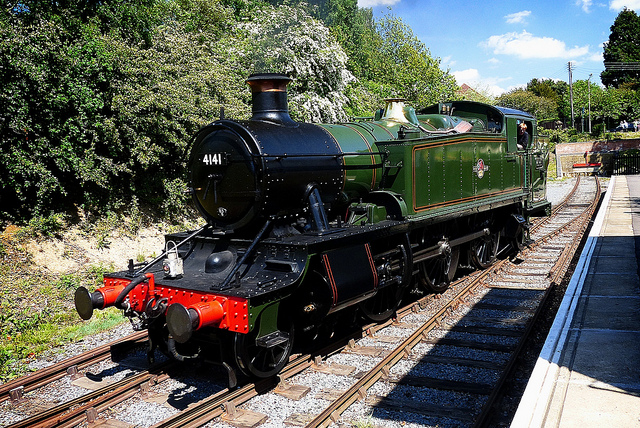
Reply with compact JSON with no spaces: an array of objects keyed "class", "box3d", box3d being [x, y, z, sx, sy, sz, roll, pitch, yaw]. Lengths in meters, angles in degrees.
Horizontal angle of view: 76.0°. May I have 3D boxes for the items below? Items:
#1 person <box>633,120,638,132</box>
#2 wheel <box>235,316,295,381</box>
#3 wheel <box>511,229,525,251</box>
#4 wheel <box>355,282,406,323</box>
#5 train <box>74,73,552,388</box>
[{"class":"person","box3d":[50.023,-13.933,65.071,0.545,1.573,3.747,3,11,35]},{"class":"wheel","box3d":[-0.868,2.048,6.148,0.161,0.876,0.947,2,20,35]},{"class":"wheel","box3d":[6.086,0.821,12.592,0.217,0.665,0.490,9,17,28]},{"class":"wheel","box3d":[1.120,1.697,7.827,0.998,0.982,0.071,-1,2,-35]},{"class":"train","box3d":[1.743,-0.407,10.606,4.534,4.889,12.847,4,8,37]}]
